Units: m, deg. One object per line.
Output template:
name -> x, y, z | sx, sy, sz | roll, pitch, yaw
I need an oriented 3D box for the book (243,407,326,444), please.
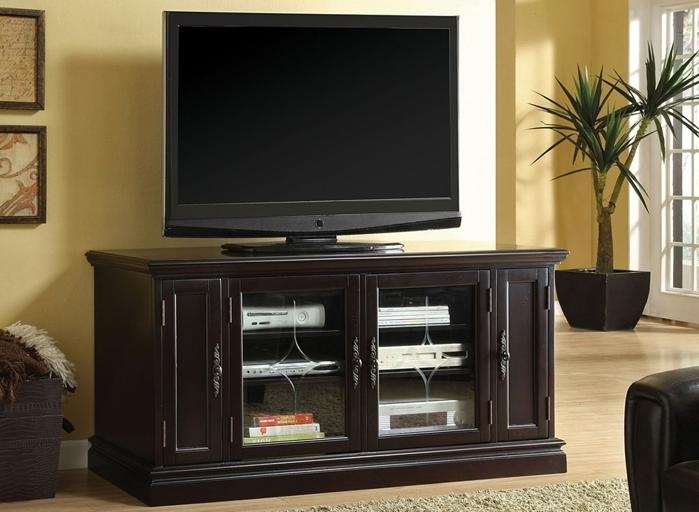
book -> -0.256, 0.665, 2.496 | 0.305, 0.117, 0.017 | -5, 6, -12

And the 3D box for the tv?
tv -> -0.174, -0.520, 2.649 | 1.035, 0.790, 0.270 | -1, 7, -13

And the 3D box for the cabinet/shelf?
cabinet/shelf -> -0.074, 0.455, 2.640 | 1.910, 1.052, 0.368 | -5, 6, -12
